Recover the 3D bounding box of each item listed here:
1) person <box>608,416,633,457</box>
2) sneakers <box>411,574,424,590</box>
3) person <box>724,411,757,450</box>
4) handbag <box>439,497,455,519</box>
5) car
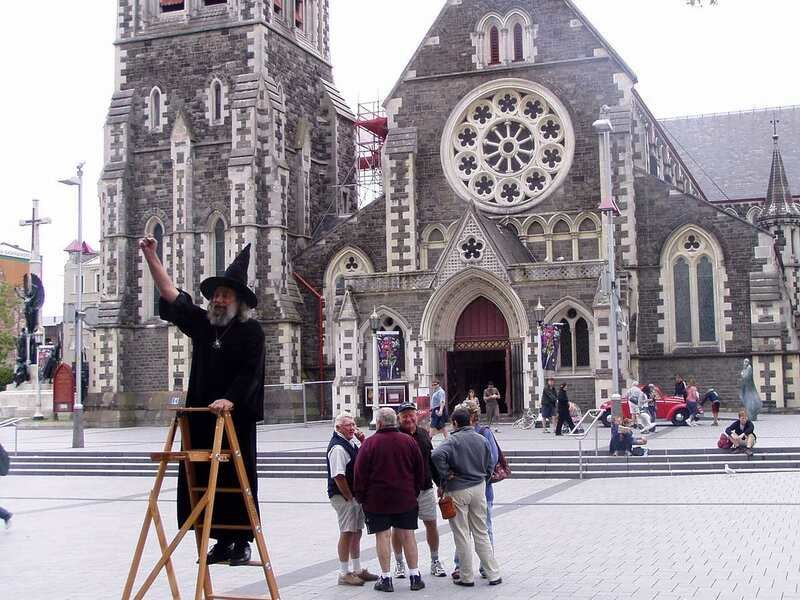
[{"bbox_3d":[5.797,3.600,33.159,0.630,0.748,1.243,-2,32,3],"label":"person"},{"bbox_3d":[0.274,4.681,20.943,0.133,0.152,0.379,1,1,16],"label":"sneakers"},{"bbox_3d":[8.580,3.329,31.691,0.760,0.937,1.012,-5,-13,23],"label":"person"},{"bbox_3d":[0.793,3.465,21.176,0.262,0.380,0.217,-2,-7,7],"label":"handbag"},{"bbox_3d":[8.086,3.433,41.194,2.961,1.158,1.687,-1,-2,7],"label":"car"}]
